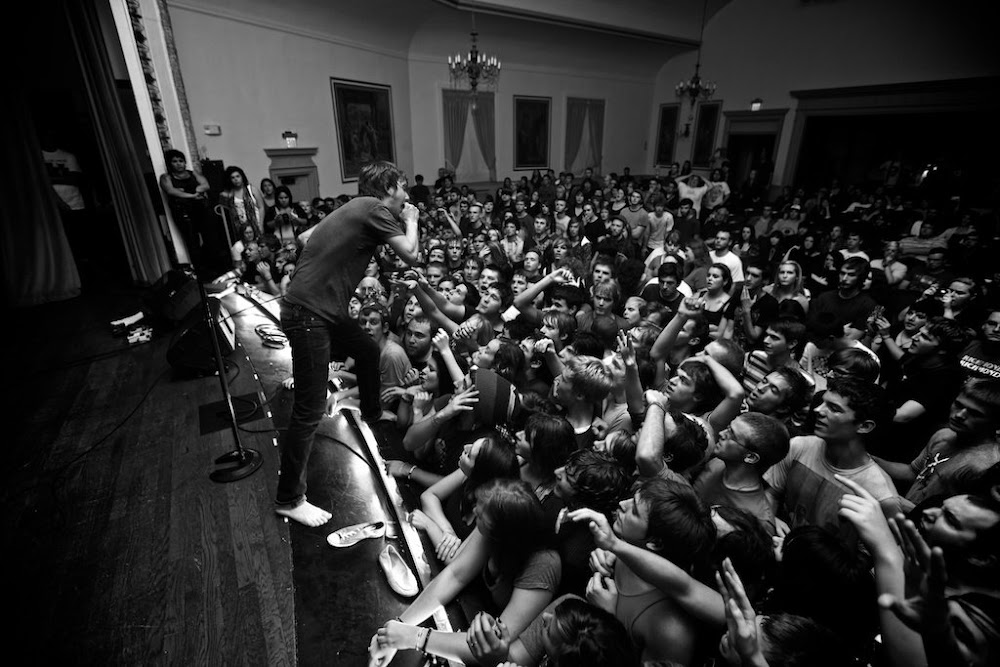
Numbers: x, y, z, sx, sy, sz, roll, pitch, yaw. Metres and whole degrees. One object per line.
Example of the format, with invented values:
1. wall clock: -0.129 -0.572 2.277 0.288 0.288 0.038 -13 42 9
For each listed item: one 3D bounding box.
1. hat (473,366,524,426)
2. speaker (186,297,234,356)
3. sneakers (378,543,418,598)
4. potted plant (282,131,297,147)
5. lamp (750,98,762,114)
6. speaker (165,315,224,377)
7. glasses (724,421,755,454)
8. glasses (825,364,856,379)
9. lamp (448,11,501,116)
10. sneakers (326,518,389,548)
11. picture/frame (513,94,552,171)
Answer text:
1. hat: -0.046 0.474 4.272 0.345 0.433 0.301 13 11 30
2. speaker: -2.693 -0.047 5.379 0.446 0.500 0.661 -5 12 -25
3. sneakers: -0.673 1.537 3.807 0.166 0.118 0.327 -7 47 -39
4. potted plant: -3.448 -3.148 9.559 0.221 0.240 0.231 3 12 16
5. lamp: 5.981 -5.341 13.712 0.272 0.304 0.504 9 21 18
6. speaker: -2.817 0.094 5.406 0.502 0.533 0.473 -5 21 -17
7. glasses: 1.517 0.666 3.784 0.185 0.085 0.139 41 36 -8
8. glasses: 2.627 0.289 4.522 0.071 0.084 0.092 21 13 -8
9. lamp: -0.485 -5.151 10.756 0.791 1.829 0.781 -4 21 -13
10. sneakers: -0.976 1.351 3.974 0.400 0.108 0.152 -2 48 -23
11. picture/frame: 0.741 -5.161 14.893 1.685 2.253 0.094 -14 27 -33
